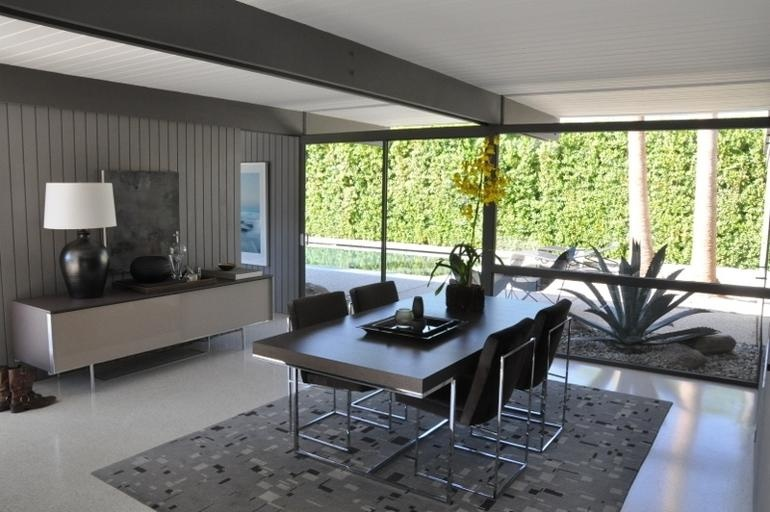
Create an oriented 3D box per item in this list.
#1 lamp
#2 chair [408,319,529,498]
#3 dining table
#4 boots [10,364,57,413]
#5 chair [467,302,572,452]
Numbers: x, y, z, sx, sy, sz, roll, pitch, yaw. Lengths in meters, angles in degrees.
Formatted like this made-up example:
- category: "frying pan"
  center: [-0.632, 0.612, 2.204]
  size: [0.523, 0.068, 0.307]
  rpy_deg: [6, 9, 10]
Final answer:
- category: "lamp"
  center: [-3.042, -0.155, 5.401]
  size: [0.610, 1.152, 0.370]
  rpy_deg: [-7, 16, -28]
- category: "chair"
  center: [0.689, 1.185, 4.322]
  size: [0.918, 1.122, 0.955]
  rpy_deg: [1, 0, 36]
- category: "dining table"
  center: [0.156, 0.867, 4.437]
  size: [1.381, 0.608, 1.920]
  rpy_deg: [10, 15, 33]
- category: "boots"
  center: [-3.360, 1.242, 5.085]
  size: [0.374, 0.384, 0.290]
  rpy_deg: [-11, 18, -41]
- category: "chair"
  center: [1.184, 1.029, 4.838]
  size: [0.820, 1.180, 0.802]
  rpy_deg: [3, 8, 41]
